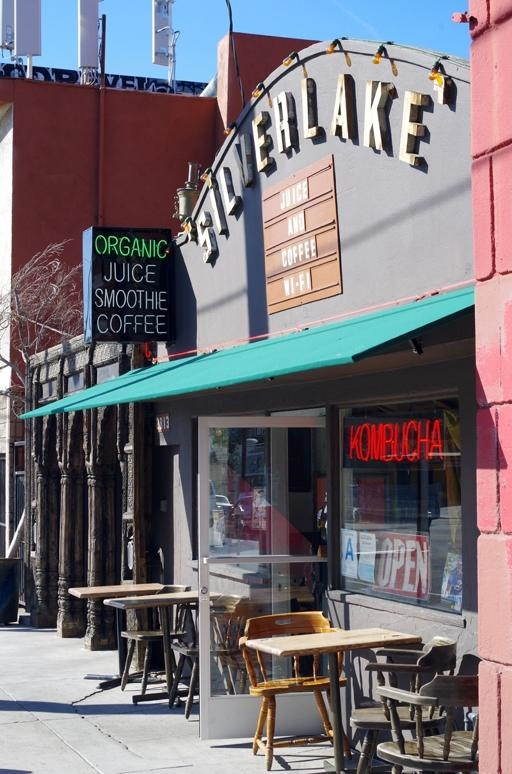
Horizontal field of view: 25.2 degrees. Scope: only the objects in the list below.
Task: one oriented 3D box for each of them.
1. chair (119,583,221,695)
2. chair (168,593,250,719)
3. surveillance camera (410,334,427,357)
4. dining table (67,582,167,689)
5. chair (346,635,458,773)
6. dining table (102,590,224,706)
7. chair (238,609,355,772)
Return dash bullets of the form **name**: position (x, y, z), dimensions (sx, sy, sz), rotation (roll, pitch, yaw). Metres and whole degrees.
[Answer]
- **chair**: position (-0.803, 2.244, 9.960), dimensions (0.547, 0.908, 0.768), rotation (-4, -10, -3)
- **chair**: position (-0.581, 2.179, 9.635), dimensions (0.501, 0.783, 0.510), rotation (0, -16, -30)
- **surveillance camera**: position (0.895, -0.245, 6.346), dimensions (0.060, 0.133, 0.036), rotation (-17, 30, -6)
- **dining table**: position (-1.227, 2.283, 10.469), dimensions (0.910, 0.837, 0.952), rotation (2, -8, 18)
- **chair**: position (0.863, 1.743, 6.722), dimensions (0.676, 1.243, 0.842), rotation (0, -9, 12)
- **dining table**: position (-0.853, 2.234, 10.046), dimensions (0.626, 0.911, 0.857), rotation (0, -5, -14)
- **chair**: position (0.155, 2.004, 7.801), dimensions (0.836, 1.385, 0.838), rotation (0, -15, -16)
